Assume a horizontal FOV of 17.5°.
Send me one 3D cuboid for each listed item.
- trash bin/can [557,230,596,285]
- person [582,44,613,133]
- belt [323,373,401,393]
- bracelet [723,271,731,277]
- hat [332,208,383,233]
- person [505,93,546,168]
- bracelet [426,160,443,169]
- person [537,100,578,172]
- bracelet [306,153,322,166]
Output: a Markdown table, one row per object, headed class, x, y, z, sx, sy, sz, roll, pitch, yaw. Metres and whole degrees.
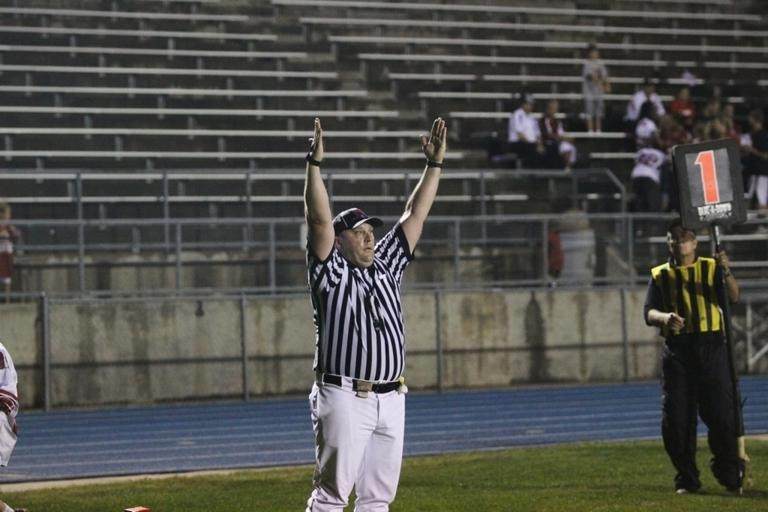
| class | x | y | z | sx | sy | sz | roll | pitch | yaw |
| --- | --- | --- | --- | --- | --- | --- | --- | --- | --- |
| trash bin/can | 2.528 | 0.013 | 32.277 | 0.703 | 0.913 | 0.645 | 0 | 2 | -2 |
| person | 2.606 | -2.056 | 30.446 | 0.316 | 1.021 | 0.683 | -3 | -3 | 5 |
| belt | -0.248 | 1.368 | 26.508 | 0.783 | 0.220 | 0.080 | -1 | -4 | -6 |
| bracelet | 3.823 | 0.204 | 27.710 | 0.078 | 0.066 | 0.074 | 2 | -2 | 7 |
| hat | -0.287 | -0.352 | 26.668 | 0.445 | 0.156 | 0.275 | -17 | -1 | 21 |
| person | 1.772 | -1.590 | 30.660 | 0.539 | 0.876 | 0.518 | -7 | 33 | 2 |
| bracelet | 0.579 | -0.992 | 27.124 | 0.115 | 0.064 | 0.109 | 12 | -1 | 43 |
| person | 2.134 | -1.494 | 30.613 | 0.386 | 0.768 | 0.704 | -3 | -4 | 18 |
| bracelet | -0.736 | -1.020 | 26.546 | 0.134 | 0.160 | 0.250 | -2 | -3 | -2 |
